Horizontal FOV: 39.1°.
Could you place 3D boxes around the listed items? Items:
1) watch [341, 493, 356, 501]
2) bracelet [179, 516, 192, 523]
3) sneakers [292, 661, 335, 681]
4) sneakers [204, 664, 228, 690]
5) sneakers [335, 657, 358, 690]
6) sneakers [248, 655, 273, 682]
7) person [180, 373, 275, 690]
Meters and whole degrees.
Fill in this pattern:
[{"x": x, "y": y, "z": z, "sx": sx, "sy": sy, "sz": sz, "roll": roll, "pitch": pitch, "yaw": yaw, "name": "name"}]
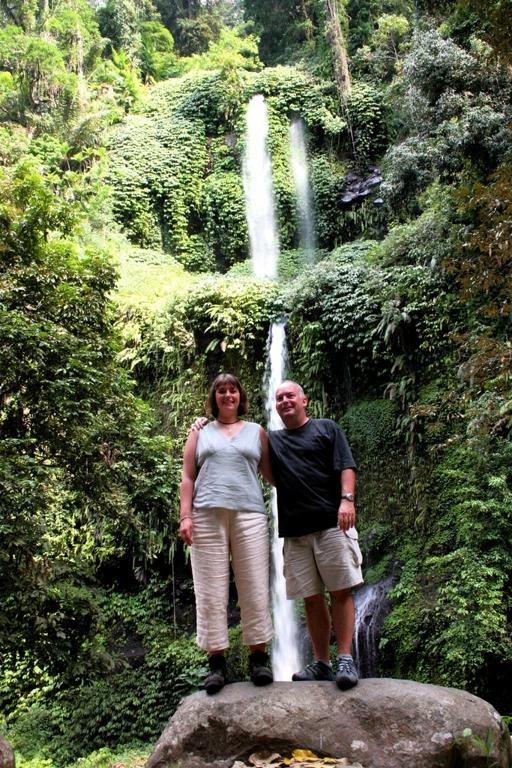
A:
[{"x": 0.488, "y": 0.600, "z": 3.835, "sx": 0.060, "sy": 0.041, "sz": 0.067, "roll": -12, "pitch": -16, "yaw": 41, "name": "watch"}, {"x": -0.375, "y": 0.717, "z": 3.868, "sx": 0.060, "sy": 0.031, "sz": 0.062, "roll": -8, "pitch": -4, "yaw": -7, "name": "bracelet"}, {"x": 0.339, "y": 1.570, "z": 3.964, "sx": 0.262, "sy": 0.113, "sz": 0.096, "roll": 11, "pitch": -18, "yaw": -15, "name": "sneakers"}, {"x": -0.211, "y": 1.546, "z": 3.811, "sx": 0.088, "sy": 0.055, "sz": 0.135, "roll": -3, "pitch": 19, "yaw": 9, "name": "sneakers"}, {"x": 0.457, "y": 1.456, "z": 3.680, "sx": 0.114, "sy": 0.146, "sz": 0.185, "roll": -9, "pitch": -3, "yaw": 8, "name": "sneakers"}, {"x": 0.030, "y": 1.535, "z": 3.863, "sx": 0.075, "sy": 0.101, "sz": 0.225, "roll": 0, "pitch": -27, "yaw": -1, "name": "sneakers"}, {"x": -0.145, "y": 0.788, "z": 3.977, "sx": 0.463, "sy": 1.432, "sz": 0.539, "roll": -9, "pitch": -3, "yaw": 18, "name": "person"}]
